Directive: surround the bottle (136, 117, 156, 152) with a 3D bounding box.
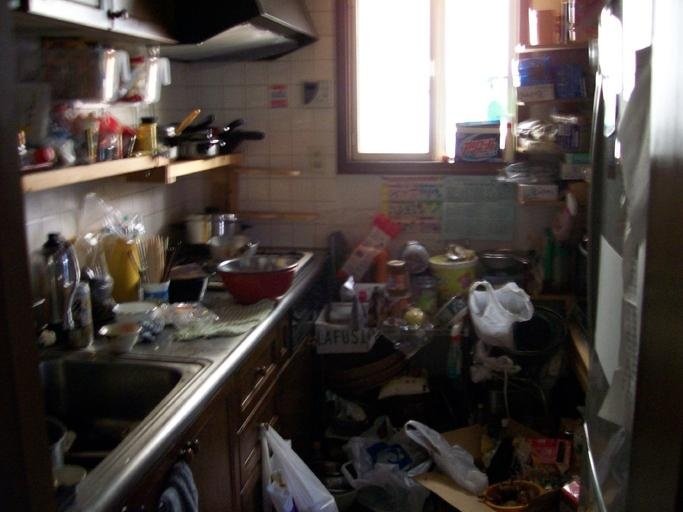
[{"bbox_3d":[-0.808,-0.504,2.339,0.048,0.145,0.106,1,12,22],"label":"bottle"}]

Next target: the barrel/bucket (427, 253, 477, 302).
[{"bbox_3d":[0.591,0.110,3.023,0.244,0.252,0.228,-1,5,0],"label":"barrel/bucket"}]

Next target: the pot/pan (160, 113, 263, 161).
[{"bbox_3d":[-0.693,-0.591,2.911,0.284,0.180,0.462,4,12,31],"label":"pot/pan"}]

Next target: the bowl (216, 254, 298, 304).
[{"bbox_3d":[-0.377,0.113,2.501,0.365,0.168,0.374,-3,-11,-1],"label":"bowl"}]

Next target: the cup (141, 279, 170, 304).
[{"bbox_3d":[-0.755,0.144,2.274,0.087,0.097,0.091,1,9,0],"label":"cup"}]

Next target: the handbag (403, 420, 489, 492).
[{"bbox_3d":[0.463,0.882,2.464,0.340,0.093,0.225,27,9,23],"label":"handbag"}]

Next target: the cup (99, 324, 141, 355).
[{"bbox_3d":[-0.734,0.263,1.876,0.115,0.055,0.094,1,6,30],"label":"cup"}]

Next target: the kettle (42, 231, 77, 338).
[{"bbox_3d":[-0.946,0.082,1.898,0.128,0.314,0.110,5,14,38],"label":"kettle"}]

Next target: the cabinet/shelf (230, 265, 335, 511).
[{"bbox_3d":[-0.260,0.558,2.382,0.323,0.843,0.906,0,9,5],"label":"cabinet/shelf"}]

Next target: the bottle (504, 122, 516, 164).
[{"bbox_3d":[0.933,-0.629,3.116,0.065,0.225,0.128,0,11,16],"label":"bottle"}]
